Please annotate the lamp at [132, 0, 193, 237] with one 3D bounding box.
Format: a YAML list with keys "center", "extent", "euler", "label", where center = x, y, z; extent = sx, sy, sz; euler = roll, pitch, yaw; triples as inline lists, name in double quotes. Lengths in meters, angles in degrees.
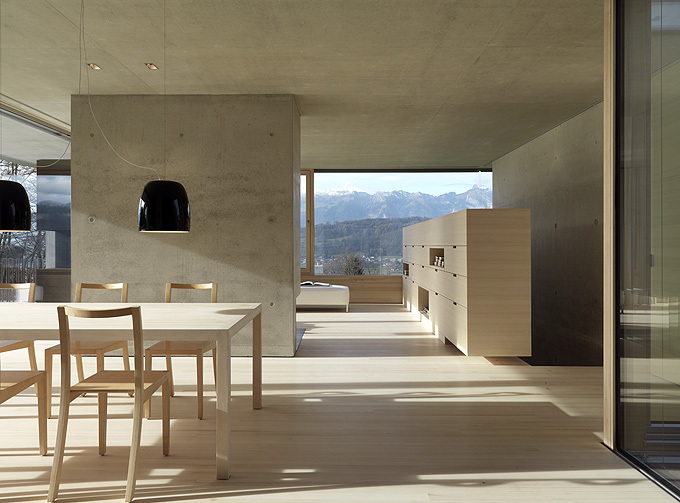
- center: [-1.639, -1.106, 6.287]
  extent: [0.419, 2.204, 1.660]
  euler: [-4, 13, -15]
  label: "lamp"

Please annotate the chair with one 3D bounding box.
- center: [-1.855, 0.959, 6.134]
  extent: [2.297, 1.209, 2.536]
  euler: [-2, 12, -6]
  label: "chair"

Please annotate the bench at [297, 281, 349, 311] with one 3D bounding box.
- center: [-0.290, 0.741, 11.445]
  extent: [0.817, 0.455, 0.720]
  euler: [-1, 12, -4]
  label: "bench"
